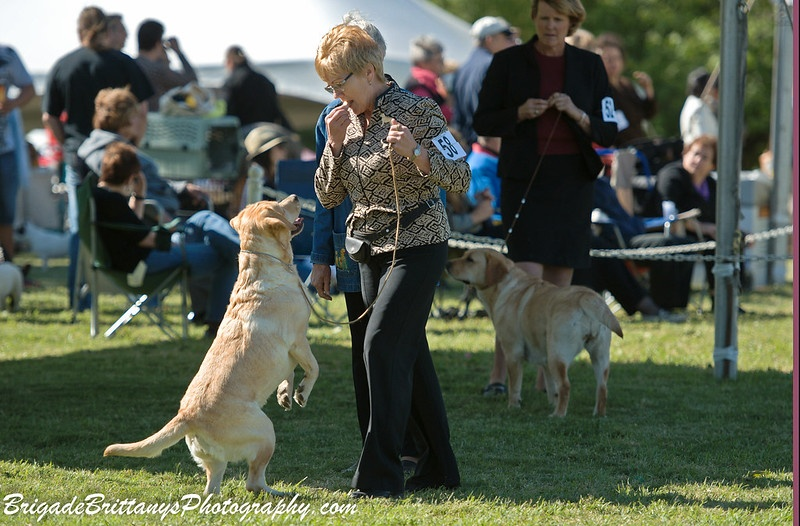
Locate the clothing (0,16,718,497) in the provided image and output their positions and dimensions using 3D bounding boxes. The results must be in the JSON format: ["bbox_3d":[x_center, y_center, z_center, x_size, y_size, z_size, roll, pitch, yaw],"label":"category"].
[{"bbox_3d":[-0.179,-0.097,15.766,4.718,4.256,1.674,-2,3,-13],"label":"clothing"}]
